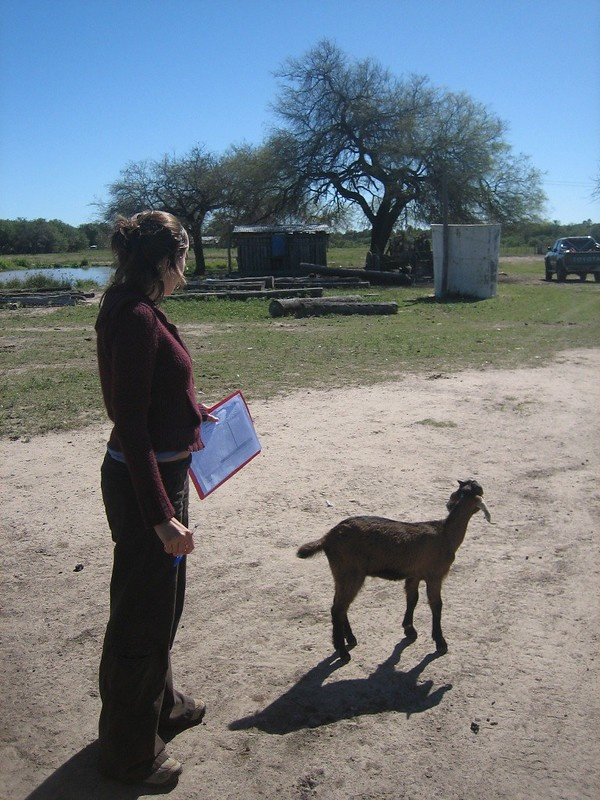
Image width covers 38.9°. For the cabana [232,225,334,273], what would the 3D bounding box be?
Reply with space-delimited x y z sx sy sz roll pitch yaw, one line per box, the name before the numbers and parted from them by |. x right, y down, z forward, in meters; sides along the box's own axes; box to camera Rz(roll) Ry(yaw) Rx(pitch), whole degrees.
cabana | -0.569 -6.530 34.544 3.855 2.129 2.533 2 26 15

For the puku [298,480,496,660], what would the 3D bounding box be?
puku | 0.498 0.828 4.232 1.014 0.817 0.225 -2 2 -12

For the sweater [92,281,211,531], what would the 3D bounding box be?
sweater | -0.549 0.008 3.116 0.371 0.826 0.553 -4 15 -11

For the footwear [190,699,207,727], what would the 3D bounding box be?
footwear | -0.449 1.366 3.724 0.065 0.080 0.074 3 -28 13

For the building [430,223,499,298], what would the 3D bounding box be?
building | 4.429 -3.723 22.655 0.736 1.983 2.338 -11 18 -34
